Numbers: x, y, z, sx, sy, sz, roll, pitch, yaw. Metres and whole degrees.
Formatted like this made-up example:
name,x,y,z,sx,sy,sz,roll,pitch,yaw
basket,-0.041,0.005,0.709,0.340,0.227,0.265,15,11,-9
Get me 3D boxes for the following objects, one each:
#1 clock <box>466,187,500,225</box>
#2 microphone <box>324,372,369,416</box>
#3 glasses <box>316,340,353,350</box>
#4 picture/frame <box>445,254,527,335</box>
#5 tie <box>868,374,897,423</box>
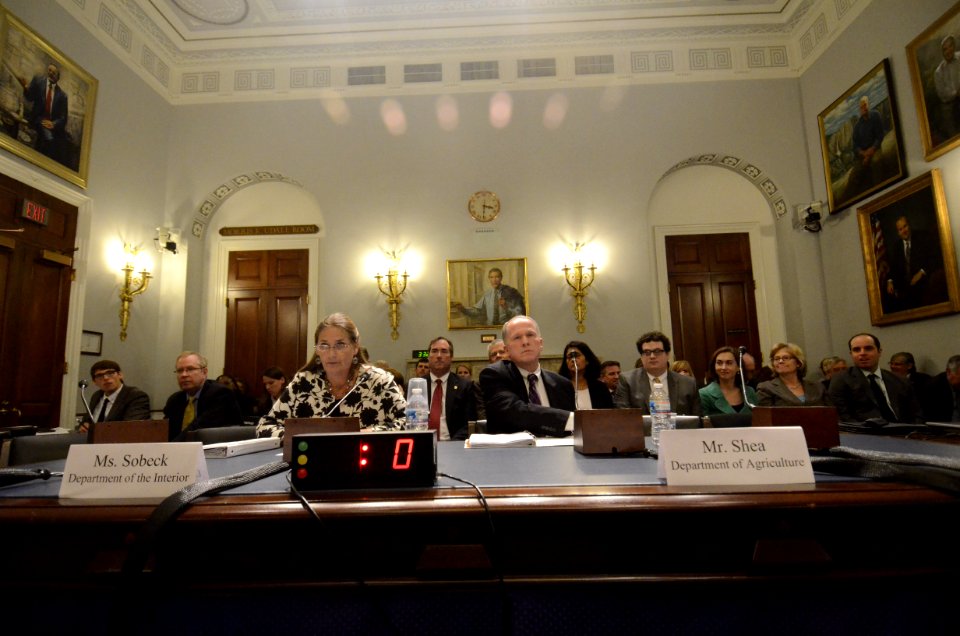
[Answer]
name,x,y,z,sx,sy,sz,roll,pitch,yaw
clock,0.042,-1.511,9.087,0.482,0.498,0.114,2,-2,3
microphone,-1.003,0.578,4.903,0.092,0.063,0.398,5,40,35
glasses,-1.065,0.201,4.796,0.229,0.064,0.055,-4,5,-8
picture/frame,0.078,-0.267,8.681,0.999,0.863,0.078,-1,-11,1
tie,3.935,0.809,6.477,0.109,0.469,0.102,24,-43,-16
